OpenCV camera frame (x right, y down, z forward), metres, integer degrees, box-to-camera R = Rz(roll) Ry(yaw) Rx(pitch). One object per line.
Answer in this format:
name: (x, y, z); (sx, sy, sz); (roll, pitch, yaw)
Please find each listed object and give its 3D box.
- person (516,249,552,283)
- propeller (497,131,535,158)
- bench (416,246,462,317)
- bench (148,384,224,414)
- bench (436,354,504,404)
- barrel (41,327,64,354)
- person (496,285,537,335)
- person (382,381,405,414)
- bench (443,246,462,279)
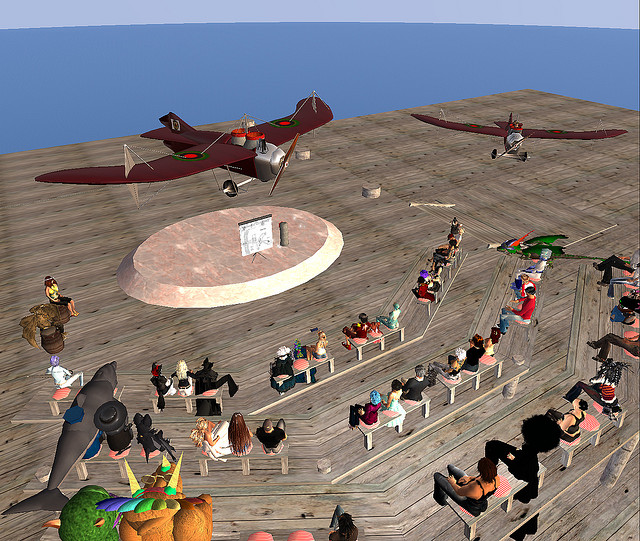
person: (5.888, -0.088, 15.070); (0.850, 0.543, 0.821); (28, -39, 22)
propeller: (7.835, -5.133, 22.497); (1.702, 0.719, 0.800); (-19, -18, 36)
bench: (3.244, 0.388, 14.860); (0.580, 2.866, 0.556); (27, -36, 25)
bench: (-2.759, 2.925, 12.109); (2.323, 0.584, 0.494); (1, -43, -2)
bench: (3.283, 2.421, 12.067); (1.617, 0.417, 0.367); (-18, -48, -22)
barrel: (-6.442, 1.706, 13.270); (0.437, 0.611, 0.499); (-9, -17, -12)
person: (4.871, 1.048, 13.613); (0.880, 0.504, 1.224); (22, -23, 17)
person: (1.460, 2.596, 11.134); (0.472, 0.651, 0.555); (-12, -16, -2)
bench: (3.730, -0.176, 15.542); (0.082, 1.078, 0.543); (22, -39, 32)
